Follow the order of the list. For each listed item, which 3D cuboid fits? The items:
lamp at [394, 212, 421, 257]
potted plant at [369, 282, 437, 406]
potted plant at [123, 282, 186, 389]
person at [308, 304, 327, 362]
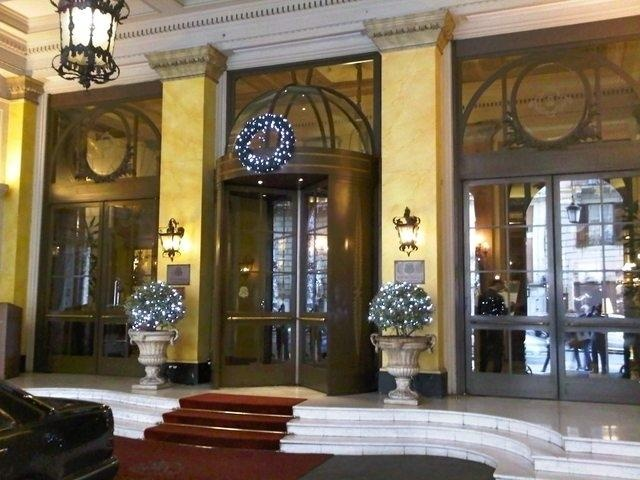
[{"bbox_3d":[1.214,-0.099,8.414,0.381,0.658,0.235,-1,-6,7],"label":"lamp"},{"bbox_3d":[1.078,1.329,7.972,0.895,1.545,0.657,1,-6,-10],"label":"potted plant"},{"bbox_3d":[-2.403,1.373,8.888,0.850,1.544,0.643,1,-6,-13],"label":"potted plant"},{"bbox_3d":[-0.099,1.299,9.015,0.257,1.013,0.242,3,-1,8],"label":"person"}]
